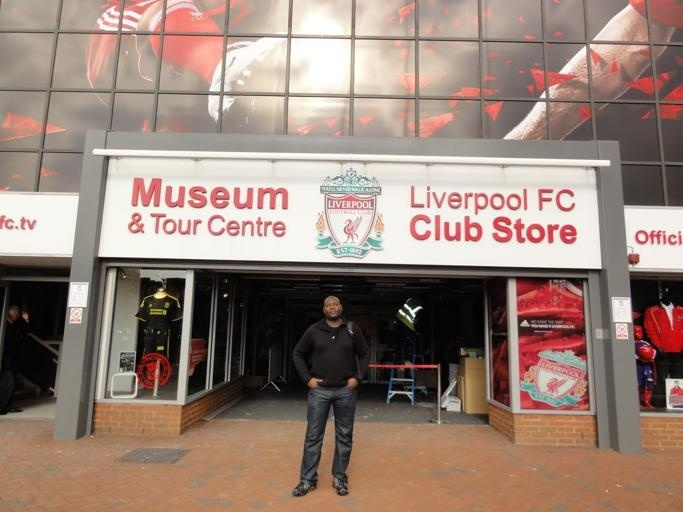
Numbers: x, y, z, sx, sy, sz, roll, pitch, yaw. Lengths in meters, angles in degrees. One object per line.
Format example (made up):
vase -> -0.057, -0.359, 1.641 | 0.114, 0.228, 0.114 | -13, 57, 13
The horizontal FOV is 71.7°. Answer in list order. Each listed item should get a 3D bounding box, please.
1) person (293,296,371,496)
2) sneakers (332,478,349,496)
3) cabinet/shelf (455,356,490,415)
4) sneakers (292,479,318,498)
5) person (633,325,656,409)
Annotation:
person -> -0.167, 1.973, 6.778 | 1.076, 2.774, 0.435 | 1, 1, -6
sneakers -> -0.024, 3.260, 6.729 | 0.257, 0.204, 0.241 | 1, 1, 5
cabinet/shelf -> 2.981, 2.951, 10.666 | 0.752, 1.257, 1.348 | -1, -10, 4
sneakers -> -0.537, 3.279, 6.663 | 0.386, 0.164, 0.144 | 10, -15, -35
person -> 5.882, 2.275, 9.116 | 0.385, 1.179, 0.311 | 2, 1, 18
